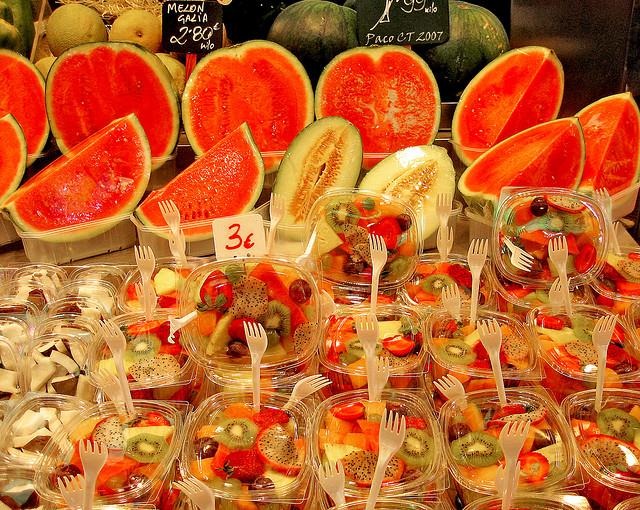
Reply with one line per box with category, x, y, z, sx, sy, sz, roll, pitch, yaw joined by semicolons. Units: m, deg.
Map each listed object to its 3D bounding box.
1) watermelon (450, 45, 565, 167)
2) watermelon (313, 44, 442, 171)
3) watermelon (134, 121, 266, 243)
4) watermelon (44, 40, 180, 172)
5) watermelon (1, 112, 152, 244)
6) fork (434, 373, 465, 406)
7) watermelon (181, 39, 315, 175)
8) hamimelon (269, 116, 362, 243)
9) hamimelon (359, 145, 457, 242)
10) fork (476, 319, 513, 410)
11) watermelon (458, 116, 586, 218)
watermelon;0.770;-0.603;2.168;0.425;0.481;0.326;4;36;13
watermelon;0.273;-0.638;2.124;0.507;0.473;0.334;21;42;37
watermelon;-0.435;-0.237;2.018;0.384;0.227;0.568;11;46;46
watermelon;-0.772;-0.533;2.037;0.395;0.523;0.168;-6;7;-5
watermelon;-0.935;-0.381;2.064;0.591;0.389;0.430;-19;38;-21
fork;0.339;0.348;1.371;0.044;0.016;0.094;-18;68;-31
watermelon;-0.296;-0.639;2.153;0.428;0.565;0.168;-4;12;-7
hamimelon;-0.040;-0.305;2.036;0.273;0.483;0.138;35;-11;-14
hamimelon;0.336;-0.287;1.954;0.286;0.323;0.379;-10;30;-20
fork;0.459;0.251;1.314;0.044;0.058;0.412;38;23;-4
watermelon;0.765;-0.362;2.099;0.515;0.364;0.449;-1;33;1
